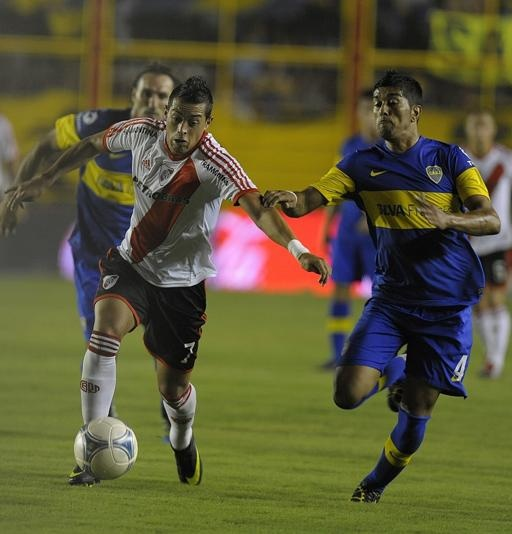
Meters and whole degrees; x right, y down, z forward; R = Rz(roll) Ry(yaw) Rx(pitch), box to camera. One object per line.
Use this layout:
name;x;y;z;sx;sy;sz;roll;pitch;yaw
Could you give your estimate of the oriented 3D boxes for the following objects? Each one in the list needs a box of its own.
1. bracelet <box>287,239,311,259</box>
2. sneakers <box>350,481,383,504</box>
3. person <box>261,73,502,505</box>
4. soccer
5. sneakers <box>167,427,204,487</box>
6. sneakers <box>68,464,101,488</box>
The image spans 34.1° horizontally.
bracelet;0.169;-0.074;3.525;0.069;0.042;0.103;-37;51;-8
sneakers;0.504;1.017;3.784;0.189;0.062;0.059;-6;11;-32
person;0.592;0.086;3.805;0.830;1.926;0.606;22;20;39
soccer;-0.645;0.795;3.625;0.256;0.259;0.153;3;16;-16
sneakers;-0.318;0.908;3.907;0.098;0.103;0.254;-33;24;3
sneakers;-0.760;0.960;3.805;0.150;0.065;0.081;-2;0;8
